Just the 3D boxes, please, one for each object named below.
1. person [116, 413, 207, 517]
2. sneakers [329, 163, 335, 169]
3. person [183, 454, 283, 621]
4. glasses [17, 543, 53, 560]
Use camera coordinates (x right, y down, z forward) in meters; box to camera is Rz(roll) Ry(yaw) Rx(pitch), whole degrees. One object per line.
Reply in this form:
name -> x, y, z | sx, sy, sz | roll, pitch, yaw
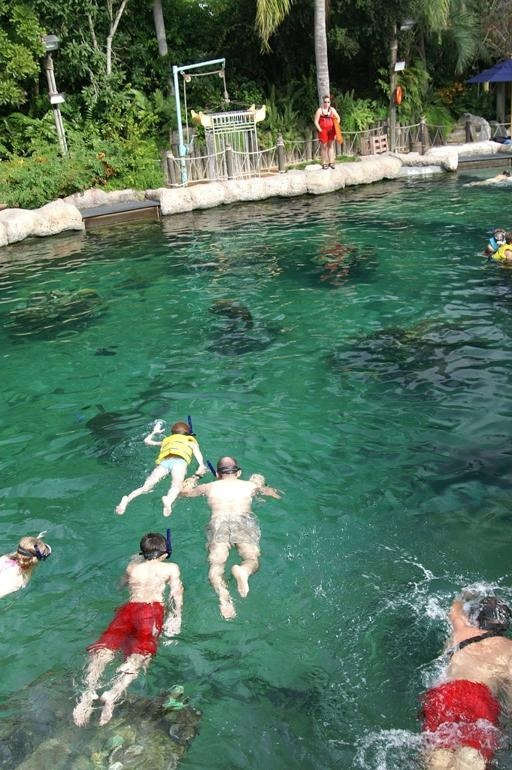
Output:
person -> -0.832, 0.800, 6.108 | 0.534, 0.273, 0.970 | 9, 32, 3
sneakers -> 2.742, -7.816, 22.051 | 0.118, 0.139, 0.354 | -1, 14, 5
person -> -0.187, 1.179, 5.028 | 0.555, 0.297, 1.119 | 3, 29, -4
glasses -> -1.688, 1.272, 4.663 | 0.198, 0.091, 0.143 | -1, -8, 4
